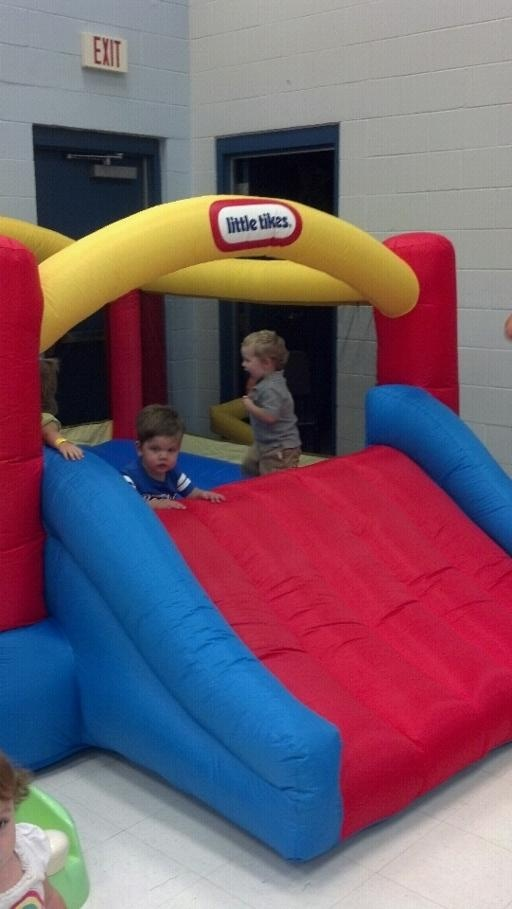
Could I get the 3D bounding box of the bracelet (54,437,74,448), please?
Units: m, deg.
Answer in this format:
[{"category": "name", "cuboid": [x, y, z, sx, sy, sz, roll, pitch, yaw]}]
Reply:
[{"category": "bracelet", "cuboid": [-0.482, -0.030, 1.928, 0.031, 0.021, 0.076, -3, 5, -17]}]
